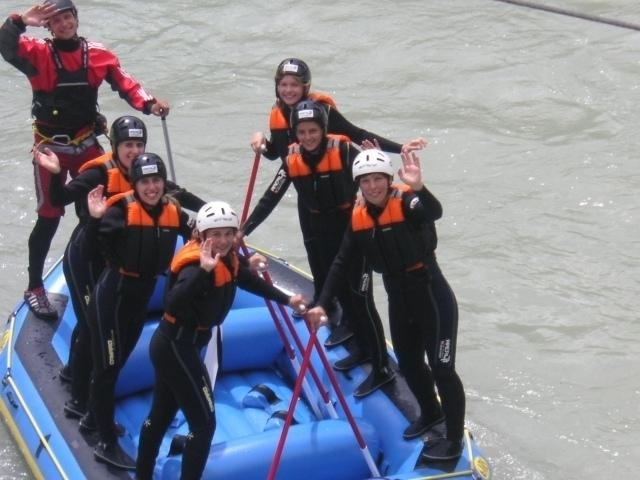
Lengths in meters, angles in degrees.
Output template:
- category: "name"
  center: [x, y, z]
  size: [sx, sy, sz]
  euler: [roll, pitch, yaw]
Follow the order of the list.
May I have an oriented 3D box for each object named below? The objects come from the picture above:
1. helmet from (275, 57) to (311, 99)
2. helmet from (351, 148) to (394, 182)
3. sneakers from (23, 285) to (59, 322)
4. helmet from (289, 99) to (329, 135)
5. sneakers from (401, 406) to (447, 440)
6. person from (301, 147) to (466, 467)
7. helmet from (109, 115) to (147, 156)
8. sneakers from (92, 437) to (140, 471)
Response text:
- category: "helmet"
  center: [-0.206, -1.398, 8.264]
  size: [0.254, 0.299, 0.297]
  euler: [1, 46, 4]
- category: "helmet"
  center: [0.390, -0.618, 7.436]
  size: [0.219, 0.276, 0.209]
  euler: [-5, 25, 3]
- category: "sneakers"
  center: [-2.518, 0.564, 8.753]
  size: [0.445, 0.194, 0.171]
  euler: [36, 35, 25]
- category: "helmet"
  center: [-0.088, -1.010, 7.968]
  size: [0.252, 0.300, 0.274]
  euler: [-2, 58, 5]
- category: "sneakers"
  center: [0.792, 1.465, 7.805]
  size: [0.397, 0.236, 0.142]
  euler: [-27, 20, 13]
- category: "person"
  center: [0.666, 0.484, 7.546]
  size: [1.167, 2.324, 0.601]
  euler: [14, 26, 33]
- category: "helmet"
  center: [-1.529, -0.847, 7.819]
  size: [0.252, 0.281, 0.306]
  euler: [1, -13, -26]
- category: "sneakers"
  center: [-1.614, 1.695, 7.617]
  size: [0.430, 0.271, 0.154]
  euler: [10, 16, -13]
